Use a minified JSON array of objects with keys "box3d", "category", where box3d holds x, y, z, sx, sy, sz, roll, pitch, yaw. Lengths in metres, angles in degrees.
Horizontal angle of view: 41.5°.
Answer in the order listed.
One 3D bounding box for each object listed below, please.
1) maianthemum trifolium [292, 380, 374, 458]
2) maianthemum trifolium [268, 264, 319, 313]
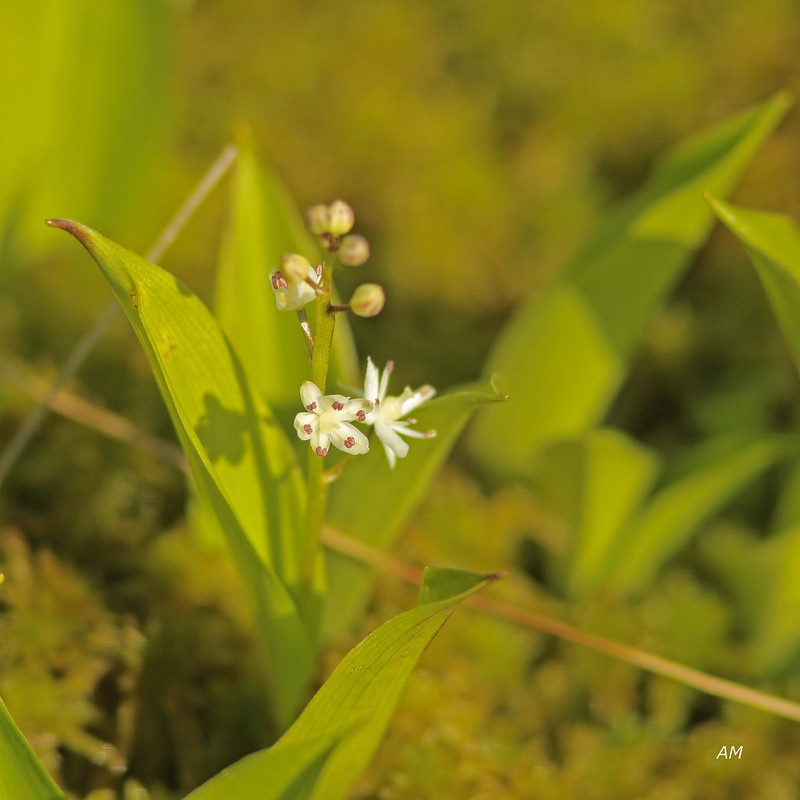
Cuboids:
[{"box3d":[-0.128,0.043,2.030,0.142,0.127,0.074,19,8,-38],"category":"maianthemum trifolium"},{"box3d":[-0.202,-0.215,2.011,0.083,0.068,0.082,-16,17,-36],"category":"maianthemum trifolium"}]
